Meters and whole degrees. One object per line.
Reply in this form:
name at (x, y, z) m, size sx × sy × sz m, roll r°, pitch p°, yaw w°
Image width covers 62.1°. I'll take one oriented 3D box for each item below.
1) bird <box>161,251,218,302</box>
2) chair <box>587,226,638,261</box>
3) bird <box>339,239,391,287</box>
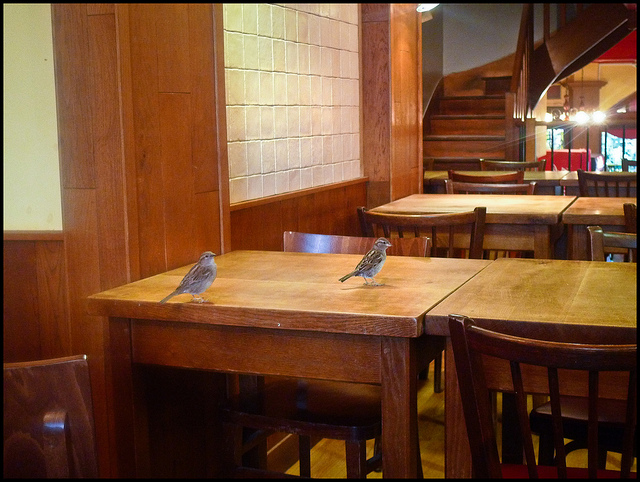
bird at (-0.341, 0.094, 1.385) m, size 0.126 × 0.133 × 0.077 m, roll 4°, pitch 6°, yaw -18°
chair at (1.079, 0.004, 1.967) m, size 0.152 × 0.207 × 0.140 m, roll 0°, pitch 6°, yaw 22°
bird at (0.128, 0.063, 1.491) m, size 0.159 × 0.126 × 0.060 m, roll -7°, pitch 0°, yaw -6°
